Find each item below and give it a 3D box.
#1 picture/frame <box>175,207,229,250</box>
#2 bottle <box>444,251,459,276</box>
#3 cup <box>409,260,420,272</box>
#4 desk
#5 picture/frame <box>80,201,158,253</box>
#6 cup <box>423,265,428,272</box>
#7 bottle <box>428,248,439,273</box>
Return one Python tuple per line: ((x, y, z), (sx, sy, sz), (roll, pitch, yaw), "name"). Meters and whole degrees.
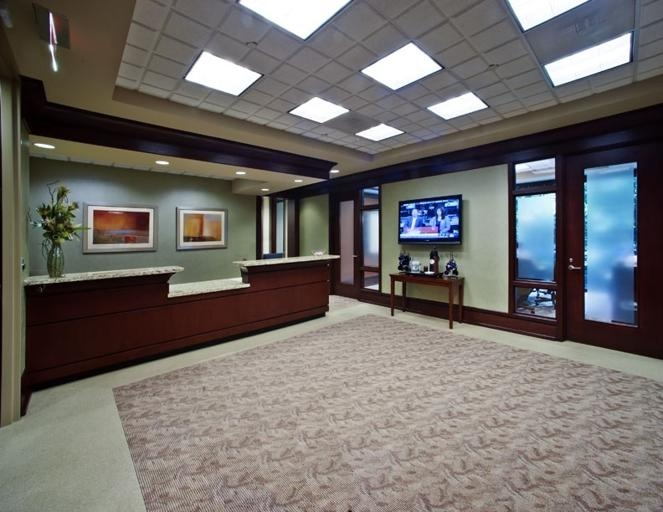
((-2.345, -0.518, 7.711), (0.050, 0.637, 0.758), (7, 7, 43), "picture/frame")
((1.746, 0.106, 6.301), (0.201, 0.329, 0.360), (2, 8, 16), "bottle")
((1.288, 0.162, 6.686), (0.134, 0.193, 0.262), (8, -5, 2), "cup")
((1.402, 0.618, 6.466), (1.052, 0.693, 0.392), (6, 11, 45), "desk")
((-3.301, -0.451, 6.807), (1.047, 0.838, 0.046), (-1, 28, -31), "picture/frame")
((1.454, 0.186, 6.694), (0.067, 0.070, 0.128), (6, -2, 5), "cup")
((1.531, 0.047, 6.450), (0.144, 0.355, 0.344), (2, 8, 13), "bottle")
